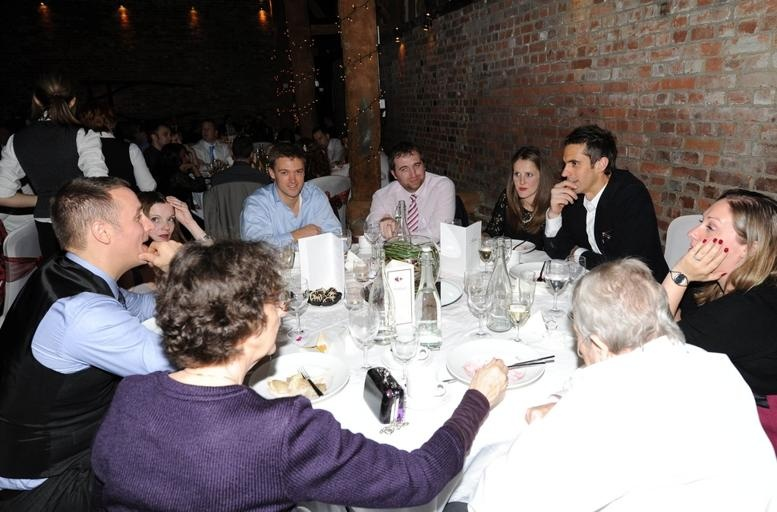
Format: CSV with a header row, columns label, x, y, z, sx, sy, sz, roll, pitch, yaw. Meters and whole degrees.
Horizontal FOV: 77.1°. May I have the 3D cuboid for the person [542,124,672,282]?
label,x,y,z,sx,sy,sz,roll,pitch,yaw
person,1.384,-0.166,3.091,0.765,1.232,0.702,-7,5,14

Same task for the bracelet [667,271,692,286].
label,x,y,z,sx,sy,sz,roll,pitch,yaw
bracelet,1.131,0.086,1.895,0.054,0.061,0.017,5,4,1
